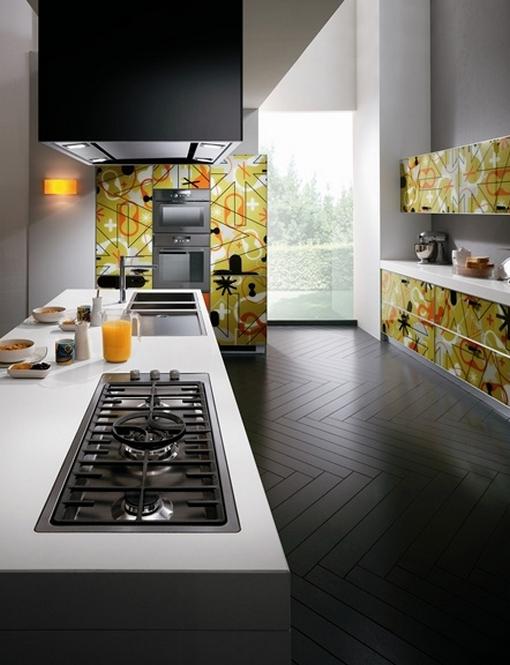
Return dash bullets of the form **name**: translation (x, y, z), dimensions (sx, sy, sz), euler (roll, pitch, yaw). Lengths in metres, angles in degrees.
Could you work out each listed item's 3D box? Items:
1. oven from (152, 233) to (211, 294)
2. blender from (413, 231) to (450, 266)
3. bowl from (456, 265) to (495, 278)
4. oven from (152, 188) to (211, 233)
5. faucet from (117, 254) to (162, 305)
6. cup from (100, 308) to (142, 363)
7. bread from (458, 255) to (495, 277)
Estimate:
- **oven**: translation (-0.905, -0.990, 5.613), dimensions (0.681, 0.757, 0.524), euler (1, 34, -6)
- **blender**: translation (2.083, -1.009, 5.353), dimensions (0.468, 0.516, 0.297), euler (1, 5, -1)
- **bowl**: translation (2.016, -0.584, 4.199), dimensions (0.105, 0.132, 0.364), euler (-3, 13, -26)
- **oven**: translation (-0.864, -1.370, 5.501), dimensions (0.709, 0.630, 0.457), euler (0, -2, 0)
- **faucet**: translation (-0.848, -0.371, 3.171), dimensions (0.229, 0.317, 0.068), euler (-10, 28, -33)
- **cup**: translation (-0.517, 0.011, 1.751), dimensions (0.169, 0.190, 0.106), euler (-4, 11, -30)
- **bread**: translation (2.020, -0.603, 4.146), dimensions (0.215, 0.147, 0.213), euler (8, 13, 43)
